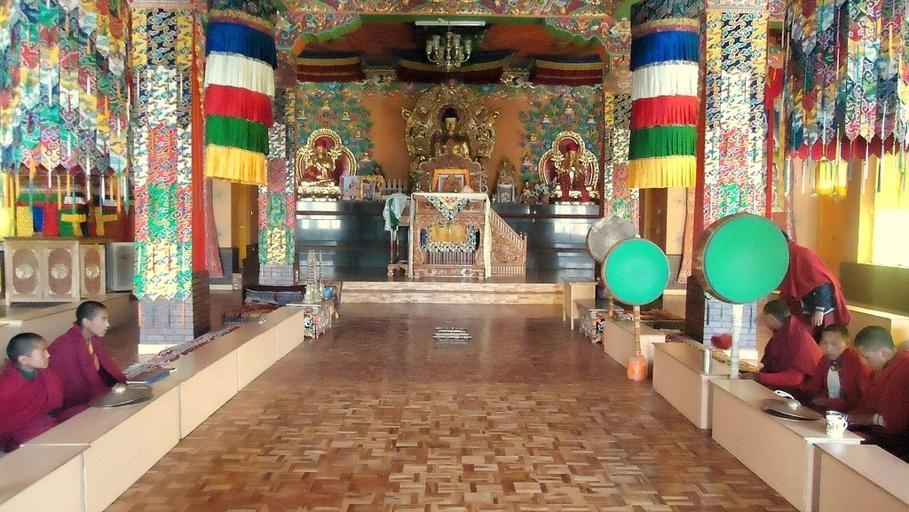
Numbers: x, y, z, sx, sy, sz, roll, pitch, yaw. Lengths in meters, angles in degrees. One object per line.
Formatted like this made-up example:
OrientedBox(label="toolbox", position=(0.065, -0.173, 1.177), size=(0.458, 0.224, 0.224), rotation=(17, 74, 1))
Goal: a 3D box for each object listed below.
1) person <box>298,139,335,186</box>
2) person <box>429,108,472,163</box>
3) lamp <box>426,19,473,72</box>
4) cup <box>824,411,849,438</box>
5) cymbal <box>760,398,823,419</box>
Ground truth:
OrientedBox(label="person", position=(-3.138, -2.124, 14.919), size=(0.861, 1.128, 0.703), rotation=(5, 17, 2))
OrientedBox(label="person", position=(-0.089, -2.550, 14.933), size=(0.825, 1.156, 0.722), rotation=(-2, 9, -8))
OrientedBox(label="lamp", position=(-0.110, -3.777, 12.066), size=(0.924, 0.772, 0.900), rotation=(-1, 3, -19))
OrientedBox(label="cup", position=(2.815, 1.215, 4.765), size=(0.200, 0.179, 0.101), rotation=(-3, 2, -19))
OrientedBox(label="cymbal", position=(2.555, 1.174, 4.974), size=(0.227, 0.045, 0.219), rotation=(3, 1, -39))
